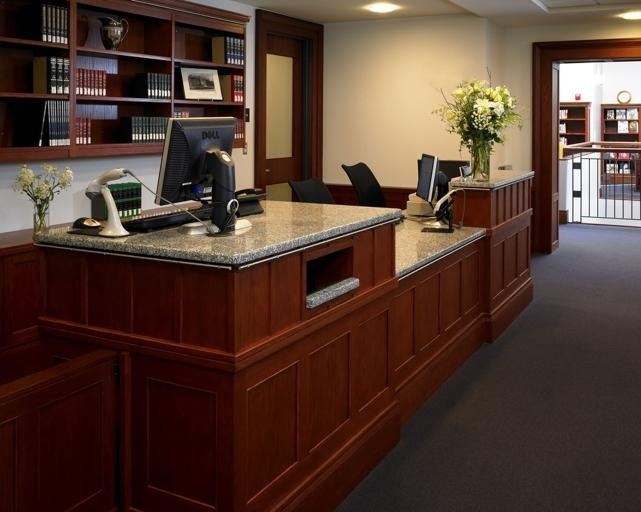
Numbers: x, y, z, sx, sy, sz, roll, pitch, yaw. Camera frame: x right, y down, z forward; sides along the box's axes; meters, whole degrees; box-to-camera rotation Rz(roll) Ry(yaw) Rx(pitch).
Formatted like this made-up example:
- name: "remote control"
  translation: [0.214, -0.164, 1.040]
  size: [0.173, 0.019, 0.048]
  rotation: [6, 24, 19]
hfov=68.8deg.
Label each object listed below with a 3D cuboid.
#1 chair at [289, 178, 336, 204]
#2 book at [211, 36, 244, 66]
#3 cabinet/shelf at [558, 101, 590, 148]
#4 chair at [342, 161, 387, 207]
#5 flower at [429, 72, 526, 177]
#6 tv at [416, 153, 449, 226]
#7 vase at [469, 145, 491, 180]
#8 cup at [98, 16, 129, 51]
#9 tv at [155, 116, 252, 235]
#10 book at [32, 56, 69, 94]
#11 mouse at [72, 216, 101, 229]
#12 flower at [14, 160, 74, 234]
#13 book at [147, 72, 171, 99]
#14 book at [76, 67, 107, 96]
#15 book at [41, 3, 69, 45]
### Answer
- name: "chair"
  translation: [-0.089, -0.599, 4.435]
  size: [0.267, 0.242, 0.593]
  rotation: [2, 12, 19]
- name: "book"
  translation: [-1.076, -2.319, 5.320]
  size: [0.167, 0.263, 0.343]
  rotation: [11, 23, 25]
- name: "cabinet/shelf"
  translation: [8.254, -4.302, 15.204]
  size: [0.875, 1.331, 0.469]
  rotation: [2, 8, 21]
- name: "chair"
  translation: [0.504, -0.781, 5.190]
  size: [0.357, 0.479, 0.627]
  rotation: [1, 11, 16]
- name: "flower"
  translation: [1.554, -1.215, 4.519]
  size: [0.593, 0.942, 0.467]
  rotation: [2, 9, 24]
- name: "tv"
  translation: [1.056, -0.636, 4.383]
  size: [0.285, 0.618, 0.584]
  rotation: [0, 10, 13]
- name: "vase"
  translation: [1.567, -0.900, 4.595]
  size: [0.201, 0.413, 0.213]
  rotation: [1, 0, -15]
- name: "cup"
  translation: [-1.875, -1.988, 4.222]
  size: [0.237, 0.287, 0.194]
  rotation: [-4, 19, -31]
- name: "tv"
  translation: [-0.495, -0.385, 2.188]
  size: [0.253, 0.518, 0.458]
  rotation: [8, 17, 24]
- name: "book"
  translation: [-2.216, -1.452, 3.799]
  size: [0.307, 0.305, 0.142]
  rotation: [-1, 8, 4]
- name: "mouse"
  translation: [-1.042, -0.146, 2.108]
  size: [0.178, 0.044, 0.081]
  rotation: [6, 13, 34]
- name: "flower"
  translation: [-2.149, -0.401, 3.606]
  size: [0.336, 0.515, 0.325]
  rotation: [-12, -17, -1]
- name: "book"
  translation: [-1.586, -1.651, 4.559]
  size: [0.220, 0.240, 0.126]
  rotation: [13, 18, 34]
- name: "book"
  translation: [-2.002, -1.500, 4.062]
  size: [0.142, 0.287, 0.280]
  rotation: [3, 7, 27]
- name: "book"
  translation: [-2.117, -1.852, 3.730]
  size: [0.097, 0.320, 0.218]
  rotation: [1, 9, 16]
